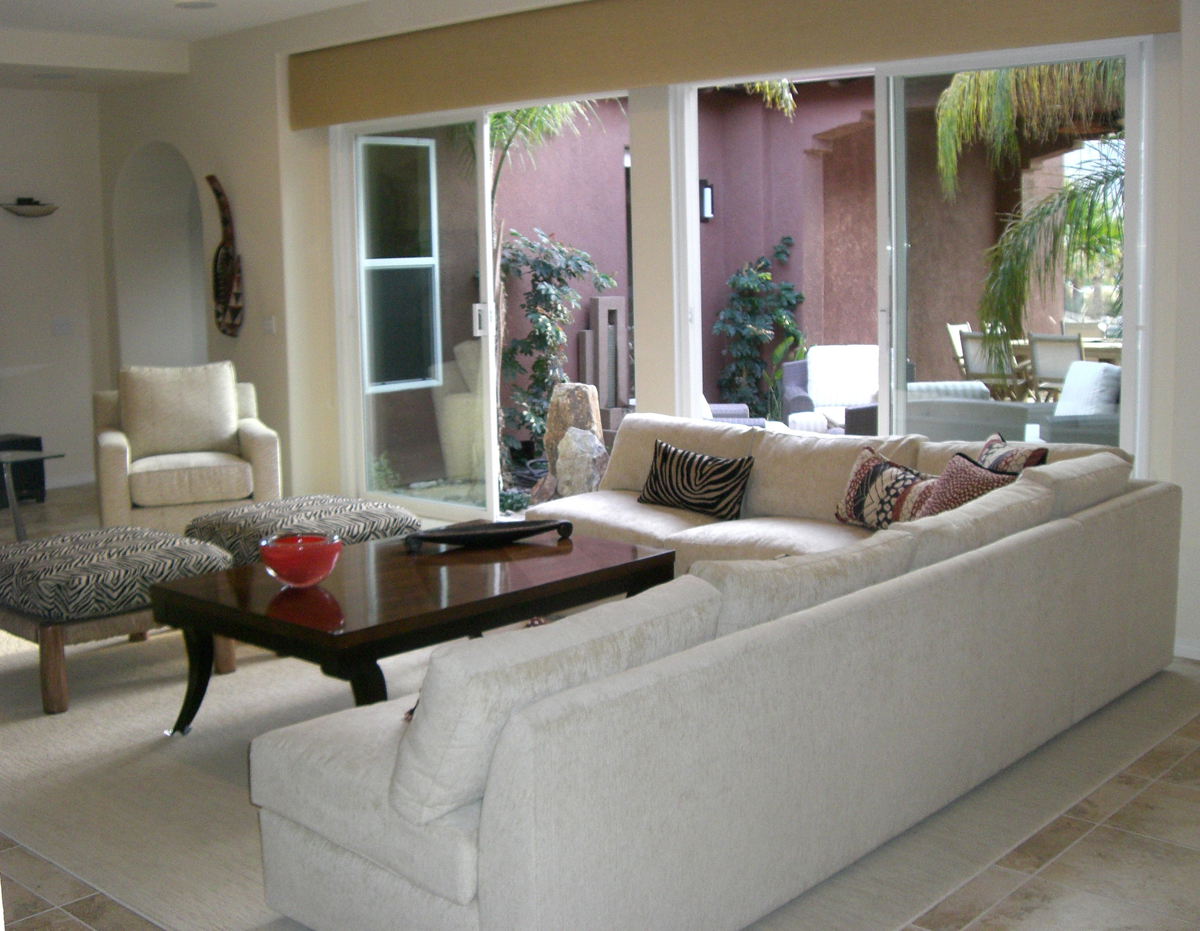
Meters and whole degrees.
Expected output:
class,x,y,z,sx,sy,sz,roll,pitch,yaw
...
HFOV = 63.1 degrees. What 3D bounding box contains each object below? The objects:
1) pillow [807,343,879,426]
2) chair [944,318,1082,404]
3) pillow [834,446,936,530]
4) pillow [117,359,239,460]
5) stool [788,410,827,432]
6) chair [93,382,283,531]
class,x,y,z,sx,sy,sz,roll,pitch,yaw
pillow,2.328,-0.853,9.444,0.973,0.951,0.235,1,-6,6
chair,1.953,-0.485,4.665,0.421,0.556,0.390,-15,14,-43
pillow,1.147,0.104,4.002,0.099,0.305,0.315,10,17,-35
pillow,-2.484,-0.305,5.736,0.546,0.453,0.247,-4,12,-26
stool,1.872,-0.398,8.874,0.358,0.218,0.358,-1,1,-35
chair,-2.499,0.062,5.764,1.101,1.035,0.842,-3,2,-29
